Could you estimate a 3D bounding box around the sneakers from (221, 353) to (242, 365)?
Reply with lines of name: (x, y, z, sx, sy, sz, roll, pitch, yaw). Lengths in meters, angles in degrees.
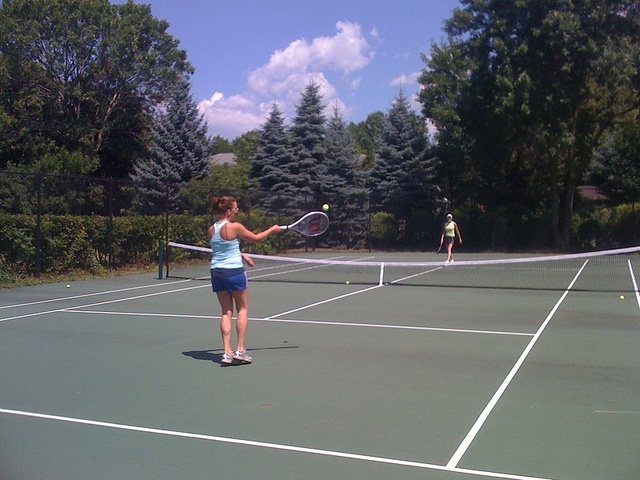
sneakers: (-1.381, 1.824, 9.684, 0.138, 0.183, 0.355, 1, -1, 44)

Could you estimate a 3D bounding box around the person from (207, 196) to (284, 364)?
person: (-1.350, 0.617, 9.873, 0.779, 2.565, 1.202, -1, 6, -11)

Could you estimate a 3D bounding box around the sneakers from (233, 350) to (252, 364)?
sneakers: (-1.179, 1.808, 9.768, 0.134, 0.180, 0.353, 2, -4, 34)
